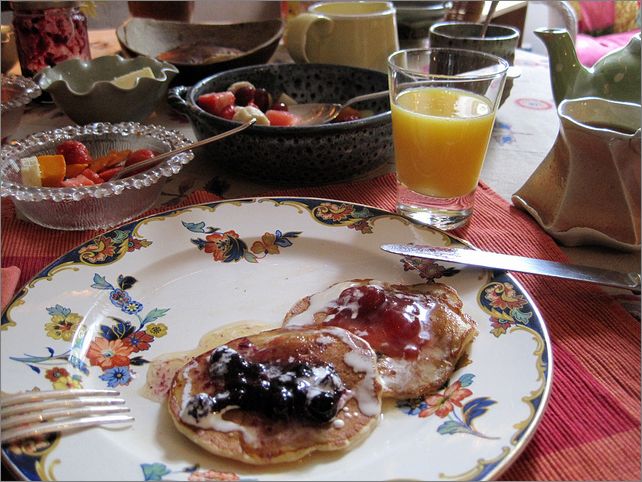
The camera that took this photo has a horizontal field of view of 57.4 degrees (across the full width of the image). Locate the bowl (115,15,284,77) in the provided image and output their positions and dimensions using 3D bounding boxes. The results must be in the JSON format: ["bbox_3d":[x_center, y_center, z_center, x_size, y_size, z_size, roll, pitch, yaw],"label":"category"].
[{"bbox_3d":[-0.435,-0.670,2.048,0.362,0.131,0.341,1,33,0],"label":"bowl"}]

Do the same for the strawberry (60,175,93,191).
[{"bbox_3d":[-0.558,-0.130,1.332,0.053,0.015,0.053,23,39,26],"label":"strawberry"}]

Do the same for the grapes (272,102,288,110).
[{"bbox_3d":[-0.116,-0.370,1.644,0.036,0.020,0.030,10,-13,-27],"label":"grapes"}]

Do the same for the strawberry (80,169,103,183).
[{"bbox_3d":[-0.535,-0.148,1.362,0.041,0.015,0.040,35,20,3],"label":"strawberry"}]

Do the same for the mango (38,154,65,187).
[{"bbox_3d":[-0.607,-0.153,1.321,0.053,0.051,0.069,-13,44,-14],"label":"mango"}]

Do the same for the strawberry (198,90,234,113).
[{"bbox_3d":[-0.276,-0.362,1.557,0.071,0.046,0.068,10,43,26],"label":"strawberry"}]

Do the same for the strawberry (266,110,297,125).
[{"bbox_3d":[-0.109,-0.327,1.572,0.063,0.025,0.064,-2,38,-20],"label":"strawberry"}]

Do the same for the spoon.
[{"bbox_3d":[-0.336,-0.213,1.441,0.322,0.043,0.062,-28,45,-11],"label":"spoon"}]

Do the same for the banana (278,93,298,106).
[{"bbox_3d":[-0.103,-0.413,1.721,0.041,0.012,0.046,-15,53,-33],"label":"banana"}]

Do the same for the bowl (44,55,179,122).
[{"bbox_3d":[-0.618,-0.412,1.729,0.337,0.153,0.324,0,25,0],"label":"bowl"}]

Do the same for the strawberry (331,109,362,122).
[{"bbox_3d":[0.070,-0.330,1.566,0.067,0.025,0.067,-21,17,-11],"label":"strawberry"}]

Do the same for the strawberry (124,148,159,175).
[{"bbox_3d":[-0.426,-0.198,1.410,0.070,0.040,0.055,-26,18,-6],"label":"strawberry"}]

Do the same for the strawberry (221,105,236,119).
[{"bbox_3d":[-0.241,-0.329,1.523,0.039,0.029,0.035,9,44,30],"label":"strawberry"}]
